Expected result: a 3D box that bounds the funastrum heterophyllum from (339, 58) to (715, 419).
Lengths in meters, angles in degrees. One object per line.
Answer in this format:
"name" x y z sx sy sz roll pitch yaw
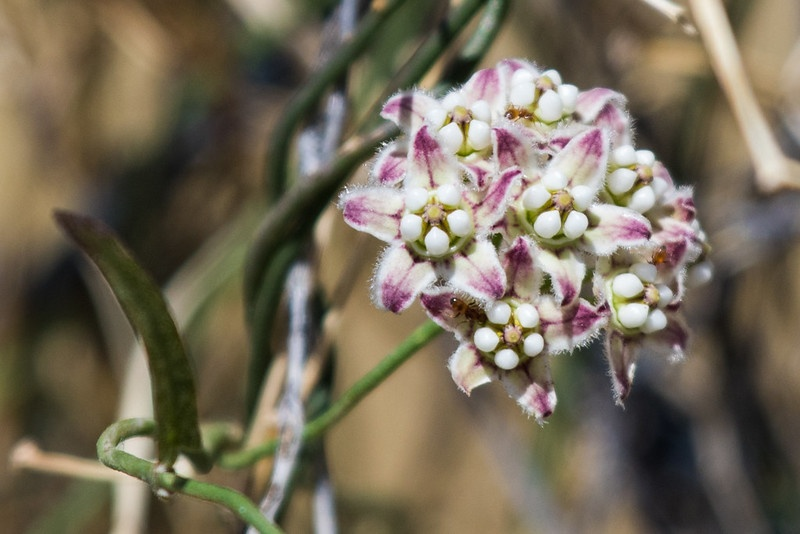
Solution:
"funastrum heterophyllum" 0.461 -0.128 3.872 1.230 0.611 1.114 14 60 11
